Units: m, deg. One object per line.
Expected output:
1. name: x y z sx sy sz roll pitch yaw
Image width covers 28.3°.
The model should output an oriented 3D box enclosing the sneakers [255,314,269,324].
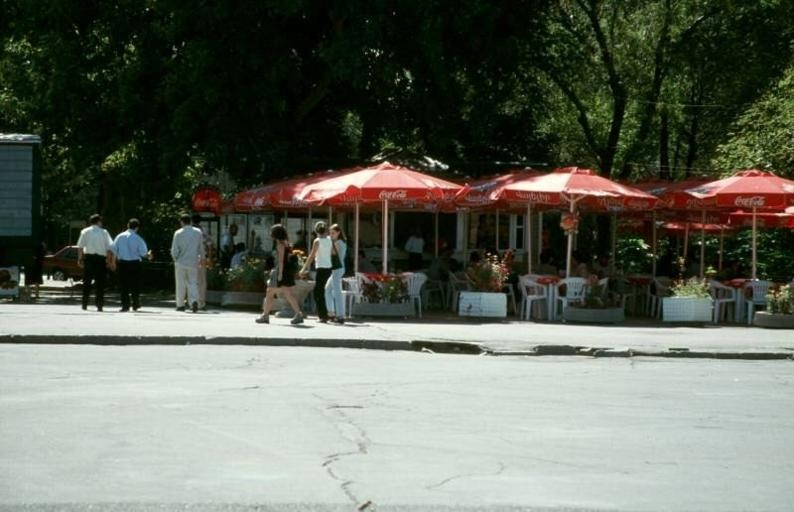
1. sneakers: -3.595 1.758 42.230 0.351 0.204 0.187 6 -2 18

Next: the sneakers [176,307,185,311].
1. sneakers: -6.175 1.581 45.067 0.132 0.113 0.162 1 -9 -10

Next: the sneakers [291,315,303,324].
1. sneakers: -2.666 1.770 42.379 0.373 0.237 0.190 0 3 13

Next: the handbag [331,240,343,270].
1. handbag: -1.583 0.023 43.039 0.197 0.808 0.618 -1 -4 20
